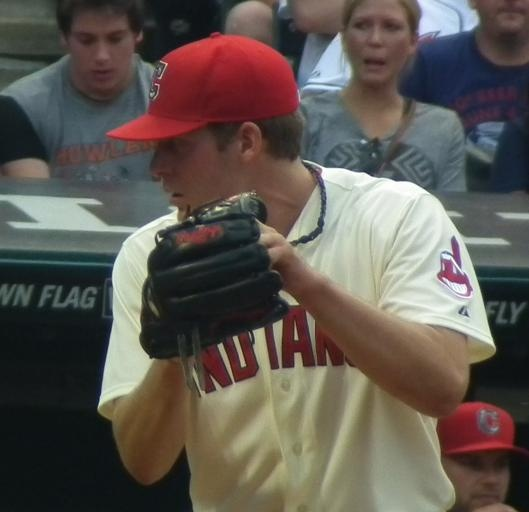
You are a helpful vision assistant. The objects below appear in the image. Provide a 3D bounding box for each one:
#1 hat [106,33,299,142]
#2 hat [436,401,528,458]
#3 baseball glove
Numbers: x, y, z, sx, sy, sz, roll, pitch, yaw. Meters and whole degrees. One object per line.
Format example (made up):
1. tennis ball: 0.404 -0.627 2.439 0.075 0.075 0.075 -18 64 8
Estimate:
1. hat: -0.158 -0.535 3.432 0.417 0.238 0.295 -11 20 -22
2. hat: 0.718 0.610 3.991 0.210 0.185 0.313 1 -15 -14
3. baseball glove: -0.212 0.061 3.216 0.370 0.535 0.259 -2 69 -14
